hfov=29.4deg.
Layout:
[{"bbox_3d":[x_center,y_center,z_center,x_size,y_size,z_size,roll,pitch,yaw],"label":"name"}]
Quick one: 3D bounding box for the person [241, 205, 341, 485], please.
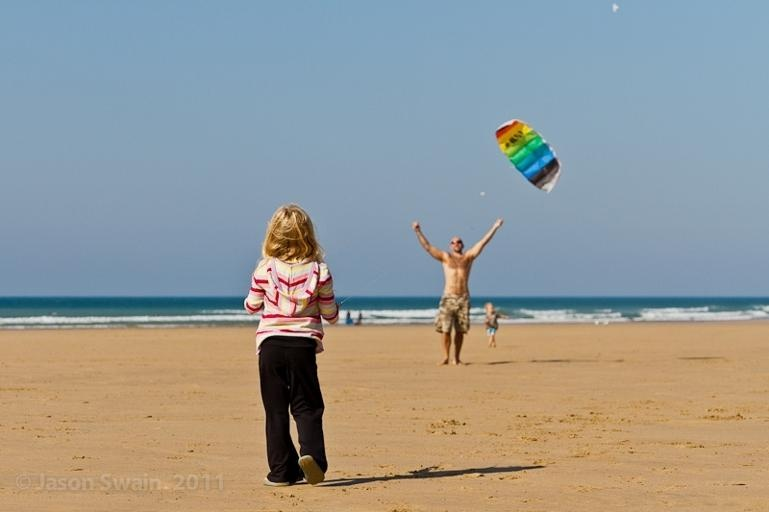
[{"bbox_3d":[-1.180,1.051,18.203,1.088,3.537,1.160,-2,14,-6],"label":"person"}]
